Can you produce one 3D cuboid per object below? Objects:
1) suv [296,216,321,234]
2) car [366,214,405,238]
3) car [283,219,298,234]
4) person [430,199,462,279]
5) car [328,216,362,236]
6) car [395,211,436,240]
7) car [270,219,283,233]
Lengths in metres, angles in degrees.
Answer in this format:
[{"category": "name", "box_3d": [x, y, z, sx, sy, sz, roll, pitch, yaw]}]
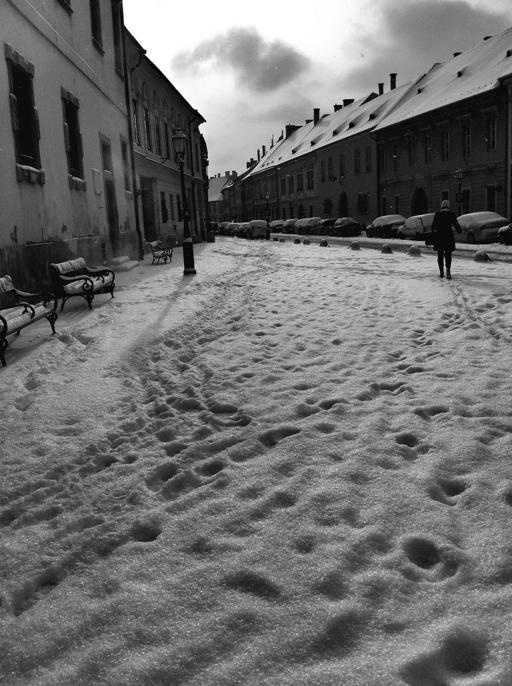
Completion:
[{"category": "suv", "box_3d": [4.903, -10.658, 50.222, 1.263, 1.394, 2.680, -17, 19, 15]}, {"category": "car", "box_3d": [8.812, -7.869, 36.210, 1.277, 1.328, 2.884, -7, 21, -11]}, {"category": "car", "box_3d": [3.527, -12.343, 57.055, 1.035, 0.995, 1.887, -6, 14, 0]}, {"category": "person", "box_3d": [4.555, -2.544, 12.934, 0.593, 1.738, 2.564, 3, 13, 20]}, {"category": "car", "box_3d": [7.069, -9.086, 42.286, 1.378, 1.369, 3.222, -7, 14, -26]}, {"category": "car", "box_3d": [9.222, -6.658, 31.097, 1.248, 1.409, 4.933, 0, 13, 5]}, {"category": "car", "box_3d": [2.489, -13.567, 62.169, 1.841, 1.682, 1.608, 9, 13, 43]}]
